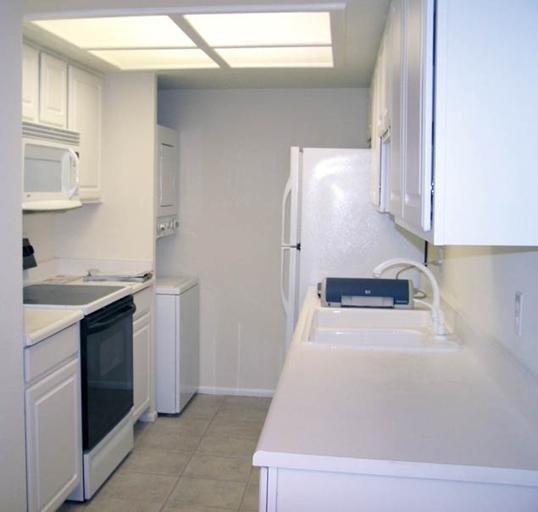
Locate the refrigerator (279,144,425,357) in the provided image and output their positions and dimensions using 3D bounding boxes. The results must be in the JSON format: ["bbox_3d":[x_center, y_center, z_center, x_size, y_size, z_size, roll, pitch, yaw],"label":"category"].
[{"bbox_3d":[0.574,-0.037,3.888,0.952,2.434,1.071,1,0,6],"label":"refrigerator"}]

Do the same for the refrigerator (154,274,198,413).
[{"bbox_3d":[-0.746,0.714,3.712,0.241,1.048,0.538,-1,8,4],"label":"refrigerator"}]

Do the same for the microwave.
[{"bbox_3d":[-1.208,-0.463,2.508,0.146,0.322,0.617,-2,9,-5],"label":"microwave"}]

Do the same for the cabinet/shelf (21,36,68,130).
[{"bbox_3d":[-1.288,-0.974,2.608,0.083,0.437,0.493,-2,9,-1],"label":"cabinet/shelf"}]

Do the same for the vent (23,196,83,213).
[{"bbox_3d":[-1.202,-0.278,2.537,0.053,0.086,0.393,-3,5,16],"label":"vent"}]
